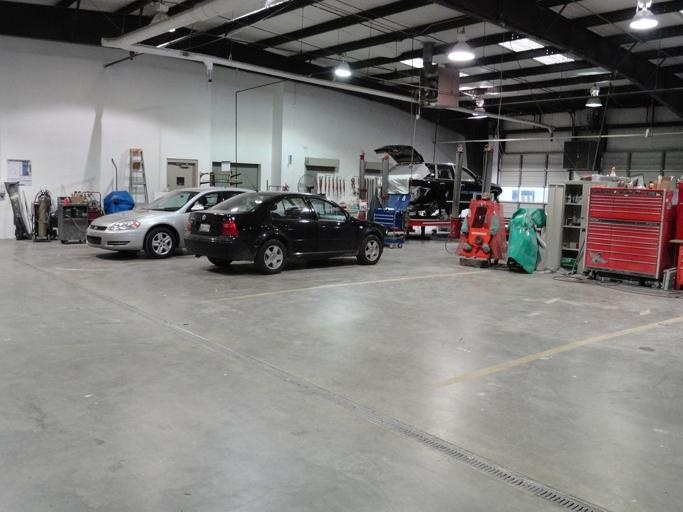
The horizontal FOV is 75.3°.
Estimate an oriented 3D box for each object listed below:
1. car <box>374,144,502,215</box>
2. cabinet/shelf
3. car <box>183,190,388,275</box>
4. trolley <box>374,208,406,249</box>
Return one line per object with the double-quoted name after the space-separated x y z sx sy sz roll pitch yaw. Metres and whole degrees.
3.740 -2.779 17.486 5.419 2.752 2.315 -2 4 -35 "car"
5.173 -0.728 10.017 1.068 2.123 0.880 5 8 32 "cabinet/shelf"
-1.045 -0.482 9.134 3.484 1.258 1.678 -4 6 -39 "car"
1.594 -0.916 14.051 0.815 1.184 0.889 -9 11 38 "trolley"
